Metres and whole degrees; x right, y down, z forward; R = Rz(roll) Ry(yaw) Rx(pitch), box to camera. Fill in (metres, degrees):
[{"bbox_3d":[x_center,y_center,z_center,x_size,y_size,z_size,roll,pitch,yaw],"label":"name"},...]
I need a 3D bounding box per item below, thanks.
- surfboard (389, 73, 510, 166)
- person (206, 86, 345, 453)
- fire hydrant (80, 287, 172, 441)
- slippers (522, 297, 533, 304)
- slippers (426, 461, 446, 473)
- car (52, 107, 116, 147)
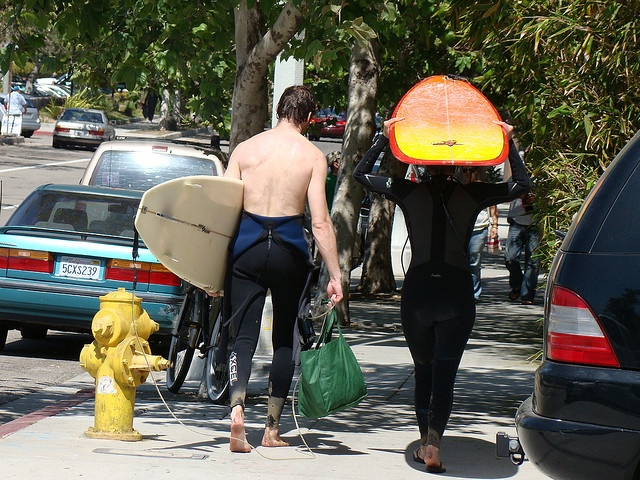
[{"bbox_3d":[0.949,-0.673,6.023,0.830,0.250,1.422,-12,0,14],"label":"surfboard"},{"bbox_3d":[-0.279,0.331,5.837,0.752,2.213,0.476,1,4,-8],"label":"person"},{"bbox_3d":[-1.383,0.897,6.363,0.847,1.220,0.990,5,-7,-15],"label":"fire hydrant"},{"bbox_3d":[3.192,0.966,13.296,0.093,0.067,0.134,3,-13,-2],"label":"slippers"},{"bbox_3d":[0.740,1.465,5.519,0.114,0.043,0.060,-2,8,-25],"label":"slippers"},{"bbox_3d":[-10.369,-4.752,36.666,2.482,1.747,1.597,-1,4,-32],"label":"car"}]
